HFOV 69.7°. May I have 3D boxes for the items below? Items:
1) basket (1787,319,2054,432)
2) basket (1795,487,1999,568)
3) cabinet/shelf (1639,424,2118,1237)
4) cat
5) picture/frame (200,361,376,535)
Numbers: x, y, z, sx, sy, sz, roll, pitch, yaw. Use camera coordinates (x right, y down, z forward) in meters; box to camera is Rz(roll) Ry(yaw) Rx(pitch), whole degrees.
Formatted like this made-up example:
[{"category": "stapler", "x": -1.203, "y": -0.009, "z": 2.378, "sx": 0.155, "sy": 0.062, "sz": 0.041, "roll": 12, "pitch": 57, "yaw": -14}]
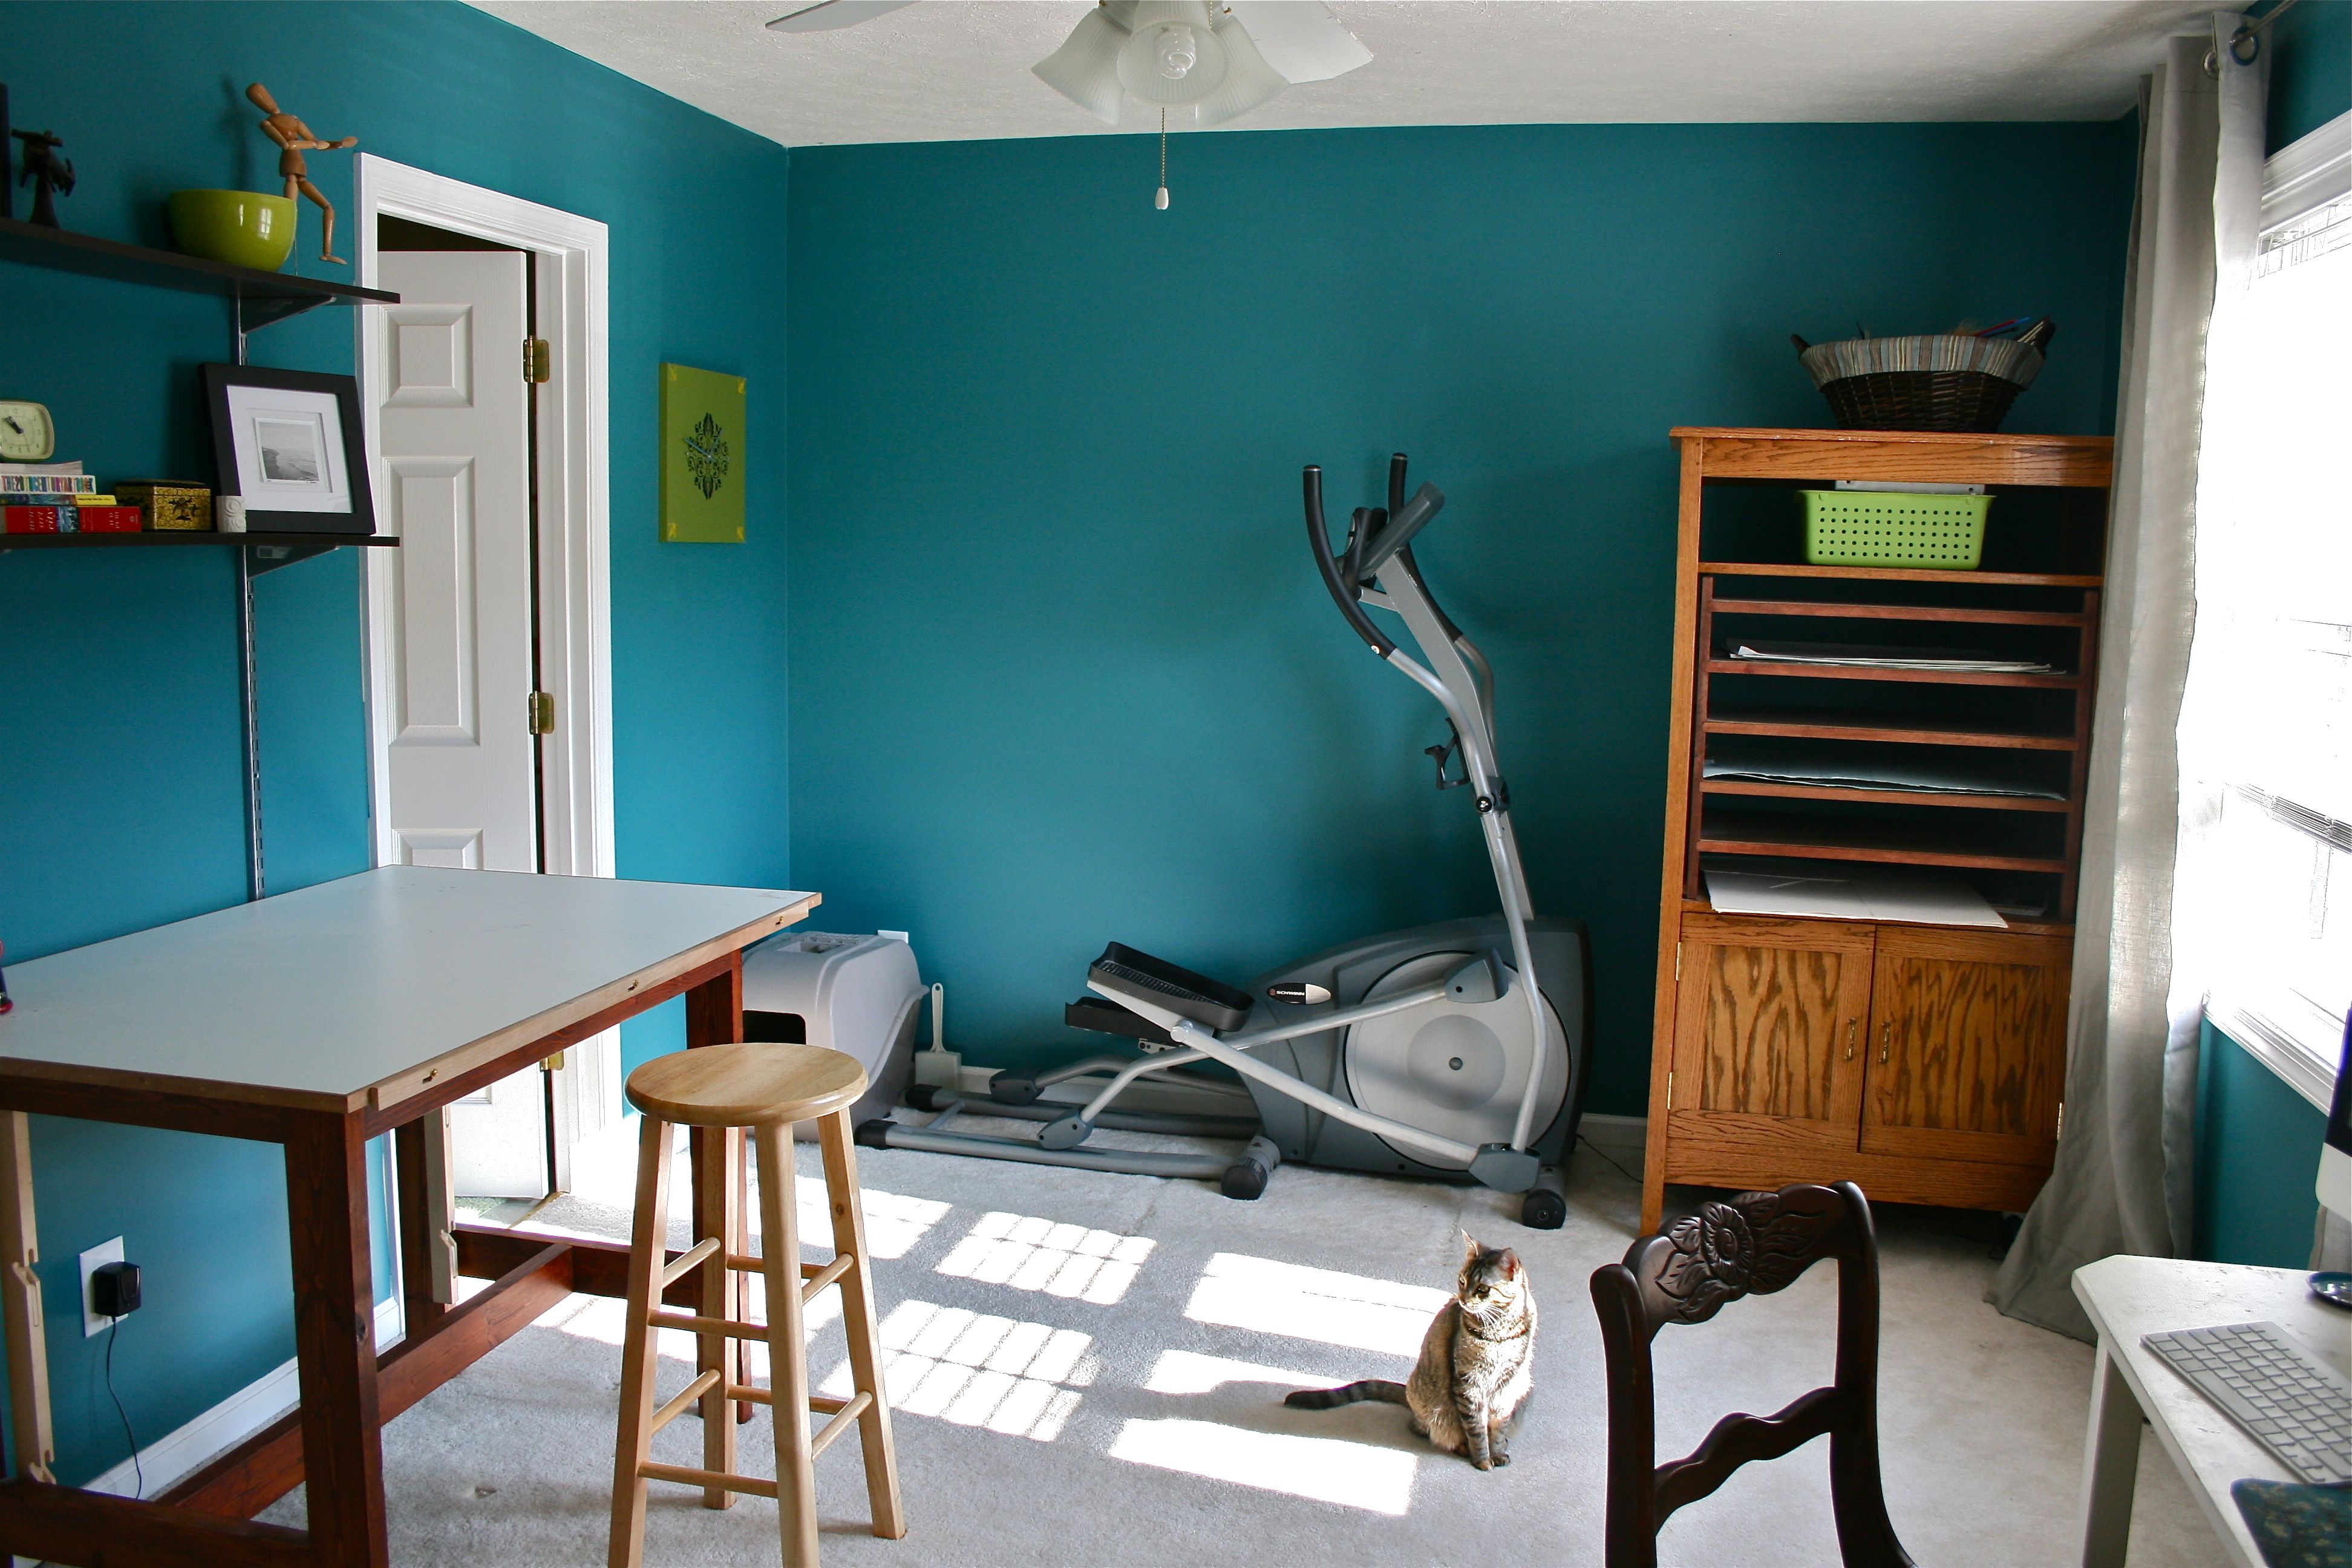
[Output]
[{"category": "basket", "x": 1.943, "y": -1.046, "z": 4.445, "sx": 0.417, "sy": 0.140, "sz": 0.422, "roll": -1, "pitch": 0, "yaw": 36}, {"category": "basket", "x": 1.883, "y": -0.666, "z": 4.450, "sx": 0.362, "sy": 0.151, "sz": 0.251, "roll": 2, "pitch": 4, "yaw": 17}, {"category": "cabinet/shelf", "x": 1.922, "y": 0.130, "z": 4.729, "sx": 1.081, "sy": 2.213, "sz": 1.095, "roll": 4, "pitch": 13, "yaw": 23}, {"category": "cat", "x": 0.556, "y": 1.247, "z": 3.844, "sx": 0.480, "sy": 0.545, "sz": 0.224, "roll": 3, "pitch": 13, "yaw": 18}, {"category": "picture/frame", "x": -1.998, "y": -0.735, "z": 3.769, "sx": 0.031, "sy": 0.423, "sz": 0.450, "roll": -5, "pitch": 2, "yaw": 33}]
